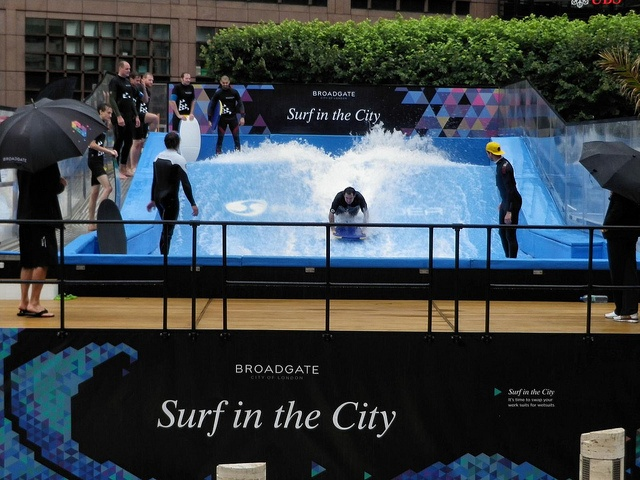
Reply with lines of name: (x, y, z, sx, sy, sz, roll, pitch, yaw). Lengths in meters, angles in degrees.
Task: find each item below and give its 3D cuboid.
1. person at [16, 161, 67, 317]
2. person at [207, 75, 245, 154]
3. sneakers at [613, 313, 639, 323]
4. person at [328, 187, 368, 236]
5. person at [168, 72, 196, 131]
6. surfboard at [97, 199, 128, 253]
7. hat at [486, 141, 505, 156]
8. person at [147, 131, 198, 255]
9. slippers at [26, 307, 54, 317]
person: (-3.895, 0.016, 12.666, 0.674, 2.097, 0.645, -3, 10, -20)
person: (-2.108, -2.781, 20.457, 0.798, 1.765, 2.241, 0, 10, -7)
sneakers: (4.342, 1.080, 12.874, 0.288, 0.156, 0.127, 4, 1, 19)
person: (0.485, -0.561, 15.168, 0.478, 0.963, 0.893, 0, 29, 2)
person: (-2.940, -2.701, 19.767, 0.496, 1.777, 0.470, -2, 7, -25)
surfboard: (-3.268, -0.189, 14.250, 0.235, 0.902, 0.936, 2, 53, -3)
hat: (3.021, -1.554, 15.790, 0.233, 0.183, 0.304, -19, 32, -35)
person: (-2.355, -0.825, 14.468, 0.789, 1.695, 3.362, -1, 11, -10)
slippers: (-3.918, 1.034, 12.732, 0.327, 0.107, 0.158, 1, 1, 3)
